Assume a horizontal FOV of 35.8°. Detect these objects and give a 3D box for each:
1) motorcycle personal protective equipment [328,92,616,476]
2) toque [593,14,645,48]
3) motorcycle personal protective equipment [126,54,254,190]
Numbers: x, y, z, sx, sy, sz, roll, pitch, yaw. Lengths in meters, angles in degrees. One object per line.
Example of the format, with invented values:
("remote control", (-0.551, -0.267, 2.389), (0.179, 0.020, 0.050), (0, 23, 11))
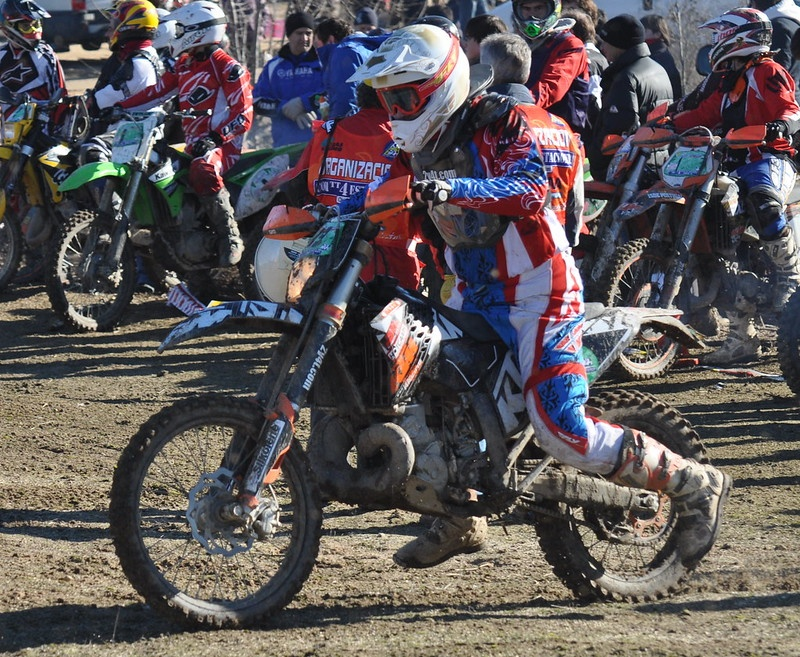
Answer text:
("motorcycle personal protective equipment", (0.440, -0.054, 7.242), (2.242, 2.394, 1.458), (3, -13, -28))
("toque", (1.924, -2.591, 10.825), (0.381, 0.193, 0.332), (-8, 36, -20))
("motorcycle personal protective equipment", (-1.842, -1.906, 10.700), (1.146, 1.300, 0.894), (6, 26, 16))
